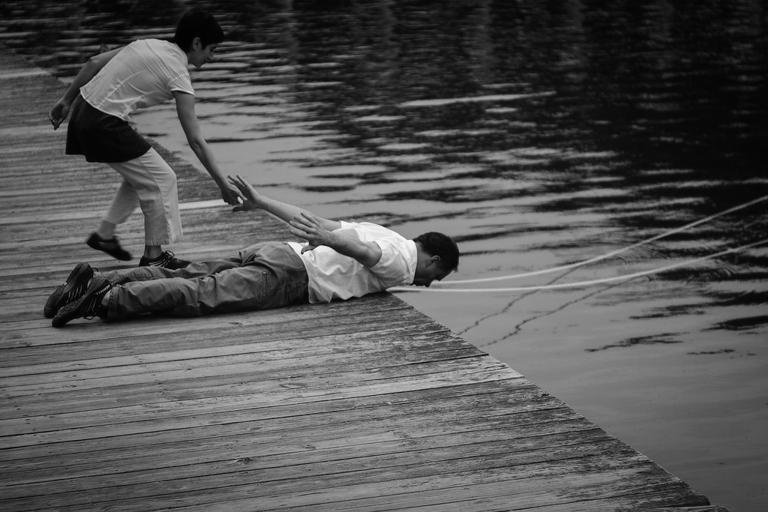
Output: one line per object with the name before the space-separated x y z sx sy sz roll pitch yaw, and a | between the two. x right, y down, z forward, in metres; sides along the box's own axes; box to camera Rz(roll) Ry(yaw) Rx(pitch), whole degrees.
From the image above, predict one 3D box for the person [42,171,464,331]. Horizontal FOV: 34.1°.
person | -1.612 0.221 10.443 1.794 0.639 3.241 4 -8 -45
